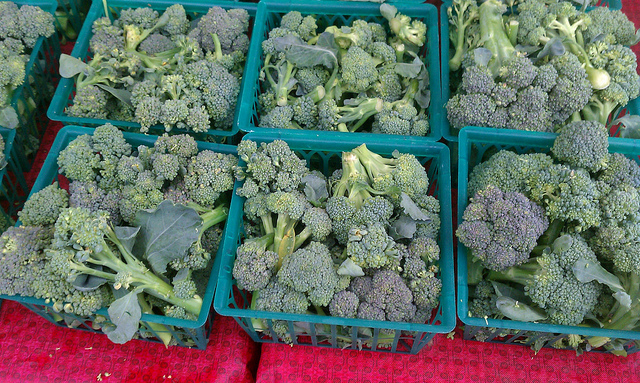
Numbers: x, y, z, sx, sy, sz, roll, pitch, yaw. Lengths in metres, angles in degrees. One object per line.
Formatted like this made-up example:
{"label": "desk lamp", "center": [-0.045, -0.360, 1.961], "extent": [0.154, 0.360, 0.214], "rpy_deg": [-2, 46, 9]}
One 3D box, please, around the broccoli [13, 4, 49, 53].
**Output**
{"label": "broccoli", "center": [-2.684, -1.579, 4.700], "extent": [0.360, 0.214, 0.326], "rpy_deg": [-44, 60, 4]}

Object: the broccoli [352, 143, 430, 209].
{"label": "broccoli", "center": [0.626, -0.152, 4.097], "extent": [0.626, 0.350, 0.454], "rpy_deg": [41, 90, 9]}

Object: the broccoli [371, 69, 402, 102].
{"label": "broccoli", "center": [0.619, -0.958, 4.477], "extent": [0.249, 0.119, 0.298], "rpy_deg": [9, 74, 2]}
